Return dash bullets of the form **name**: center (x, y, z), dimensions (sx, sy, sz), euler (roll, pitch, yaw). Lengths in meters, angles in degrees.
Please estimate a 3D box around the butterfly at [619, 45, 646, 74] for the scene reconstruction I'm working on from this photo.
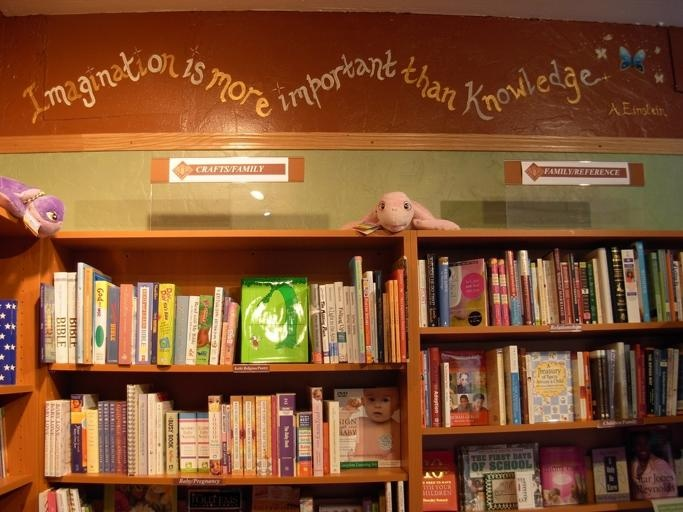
- **butterfly**: center (1.527, -1.019, 3.760), dimensions (0.145, 0.144, 0.015), euler (2, -14, 0)
